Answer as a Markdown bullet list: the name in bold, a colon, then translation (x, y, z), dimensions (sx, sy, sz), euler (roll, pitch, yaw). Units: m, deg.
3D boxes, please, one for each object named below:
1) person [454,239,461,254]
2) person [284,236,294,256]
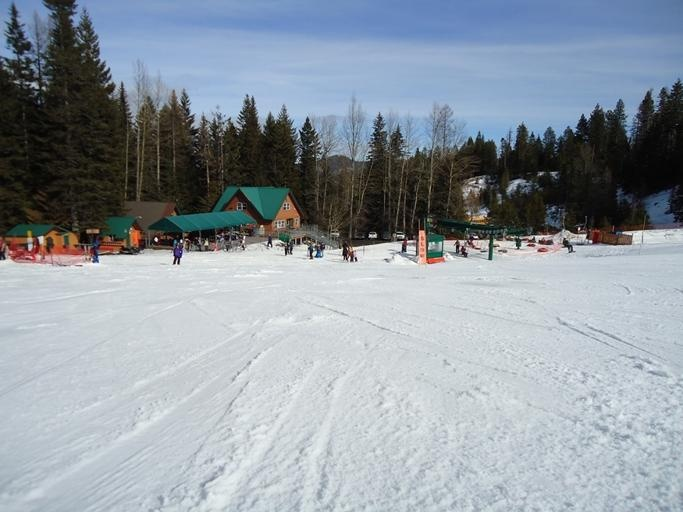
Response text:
- **person**: translation (10.181, -0.793, 45.741), dimensions (0.442, 1.215, 2.262), euler (3, 13, 12)
- **person**: translation (-4.795, -0.736, 44.365), dimensions (1.010, 1.478, 2.387), euler (2, 7, 4)
